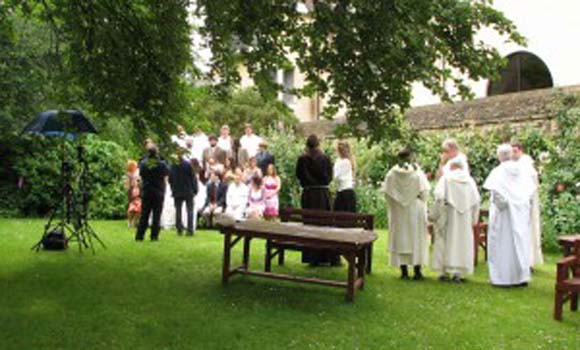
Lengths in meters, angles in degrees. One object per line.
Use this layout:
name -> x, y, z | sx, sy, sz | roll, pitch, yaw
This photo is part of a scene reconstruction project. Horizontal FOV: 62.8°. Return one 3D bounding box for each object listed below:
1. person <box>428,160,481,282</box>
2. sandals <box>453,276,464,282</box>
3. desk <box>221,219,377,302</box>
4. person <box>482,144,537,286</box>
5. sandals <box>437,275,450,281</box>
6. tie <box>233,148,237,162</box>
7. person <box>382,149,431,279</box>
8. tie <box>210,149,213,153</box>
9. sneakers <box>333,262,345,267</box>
person -> 3.519, 0.931, 10.237 | 1.025, 2.676, 0.452 | 1, -7, 13
sandals -> 3.617, 2.212, 10.128 | 0.298, 0.138, 0.162 | 6, -8, -24
desk -> 0.114, 1.666, 9.455 | 3.004, 1.128, 1.069 | 4, 2, 19
person -> 4.691, 1.028, 10.141 | 0.926, 2.632, 0.381 | 1, -7, 10
sandals -> 3.291, 2.210, 10.197 | 0.104, 0.072, 0.249 | -4, 7, -33
tie -> -1.705, -0.609, 14.889 | 0.072, 0.288, 0.290 | -3, 1, -3
person -> 2.489, 1.007, 10.228 | 0.938, 2.426, 0.503 | 1, -7, 14
tie -> -2.459, -0.760, 15.024 | 0.112, 0.108, 0.029 | -3, -10, 40
sneakers -> 1.099, 2.022, 10.793 | 0.291, 0.121, 0.101 | -4, 1, -4
